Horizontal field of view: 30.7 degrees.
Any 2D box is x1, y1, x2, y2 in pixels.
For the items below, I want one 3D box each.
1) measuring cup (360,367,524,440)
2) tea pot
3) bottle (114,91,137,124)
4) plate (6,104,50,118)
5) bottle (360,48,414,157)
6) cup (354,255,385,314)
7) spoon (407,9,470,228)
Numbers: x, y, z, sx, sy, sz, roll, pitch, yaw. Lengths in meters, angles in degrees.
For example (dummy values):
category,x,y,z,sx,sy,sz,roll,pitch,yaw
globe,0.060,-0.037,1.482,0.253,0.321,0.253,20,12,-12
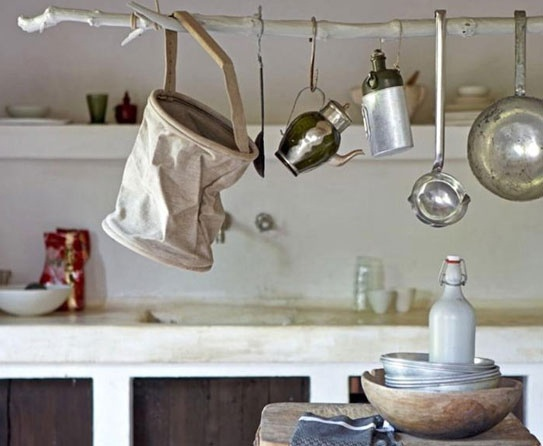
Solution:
category,x,y,z,sx,sy,sz,roll,pitch,yaw
measuring cup,0.450,0.484,2.633,0.420,0.172,0.097,-1,-6,9
tea pot,0.129,-0.272,2.893,0.254,0.276,0.143,44,4,10
bottle,-0.600,-0.473,4.078,0.091,0.146,0.086,-1,-6,0
plate,-0.992,-0.453,4.029,0.160,0.062,0.088,-1,-6,6
bottle,0.329,-0.343,2.821,0.141,0.268,0.131,-10,0,0
cup,0.400,0.259,4.193,0.091,0.219,0.107,-5,13,-41
spoon,0.461,-0.289,2.786,0.102,0.596,0.134,4,-8,-42
